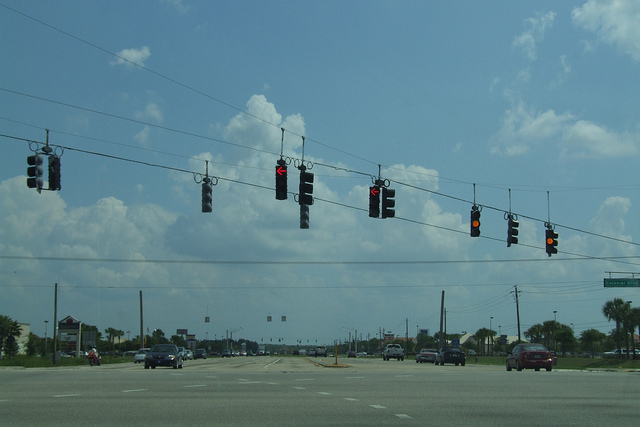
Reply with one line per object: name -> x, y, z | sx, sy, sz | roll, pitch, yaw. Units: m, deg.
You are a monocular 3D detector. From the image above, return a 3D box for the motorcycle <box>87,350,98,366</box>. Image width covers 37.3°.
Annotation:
motorcycle -> -20.818, 13.123, 86.434 | 0.707, 1.126, 1.669 | 1, -18, -8

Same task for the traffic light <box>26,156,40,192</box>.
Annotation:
traffic light -> -17.558, -2.511, 58.053 | 0.793, 2.372, 1.136 | 5, -16, -19

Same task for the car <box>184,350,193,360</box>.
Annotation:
car -> -16.446, 17.502, 118.328 | 1.240, 1.148, 2.257 | 2, -16, -10

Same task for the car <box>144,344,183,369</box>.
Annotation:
car -> -12.225, 11.203, 74.845 | 2.150, 2.402, 3.035 | -11, -20, 30

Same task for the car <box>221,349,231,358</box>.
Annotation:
car -> -14.355, 21.153, 143.553 | 0.874, 0.963, 1.675 | 1, -1, 6

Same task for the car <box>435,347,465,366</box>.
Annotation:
car -> 11.829, 12.836, 85.470 | 2.452, 1.889, 1.729 | -6, -17, 14

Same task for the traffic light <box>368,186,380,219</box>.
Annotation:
traffic light -> 3.640, -0.750, 63.091 | 0.634, 2.360, 0.793 | -2, -15, 4

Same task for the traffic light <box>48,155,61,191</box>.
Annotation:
traffic light -> -16.479, -2.542, 58.636 | 0.676, 2.118, 0.397 | 5, -16, -19

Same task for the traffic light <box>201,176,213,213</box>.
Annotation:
traffic light -> -7.258, -1.333, 60.684 | 0.549, 2.404, 1.381 | 1, -16, -8

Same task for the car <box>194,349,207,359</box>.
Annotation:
car -> -16.342, 18.925, 128.331 | 1.722, 1.407, 1.148 | 15, -23, -42

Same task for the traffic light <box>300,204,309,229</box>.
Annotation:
traffic light -> -1.008, 0.144, 61.739 | 0.439, 1.383, 0.668 | 3, -16, -12

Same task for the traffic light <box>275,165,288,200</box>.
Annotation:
traffic light -> -2.484, -1.993, 60.427 | 0.677, 2.420, 0.639 | 3, -15, -12

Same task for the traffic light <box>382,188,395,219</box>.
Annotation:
traffic light -> 4.489, -0.830, 62.096 | 0.744, 2.090, 1.034 | -1, -15, 0
